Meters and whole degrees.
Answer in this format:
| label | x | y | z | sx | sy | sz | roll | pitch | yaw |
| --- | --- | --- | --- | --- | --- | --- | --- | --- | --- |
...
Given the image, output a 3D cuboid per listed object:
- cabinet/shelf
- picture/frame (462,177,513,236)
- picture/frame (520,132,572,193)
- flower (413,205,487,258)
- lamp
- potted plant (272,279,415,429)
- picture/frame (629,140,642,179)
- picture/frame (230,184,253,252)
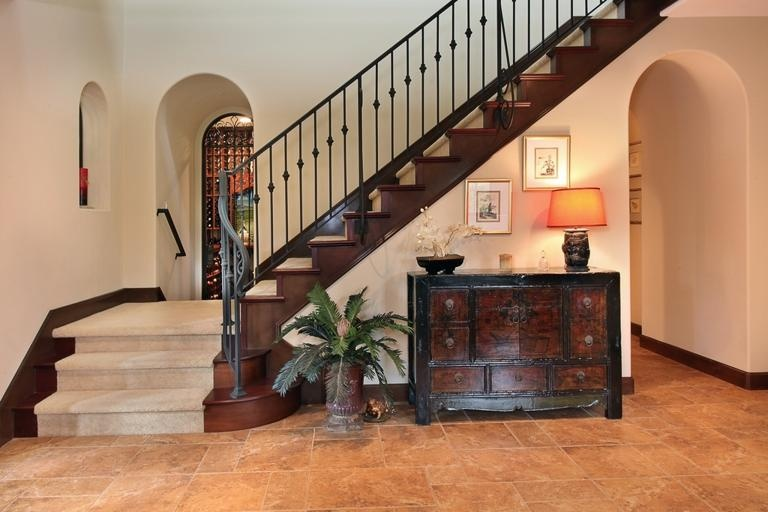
| label | x | y | z | sx | sy | sz | roll | pitch | yaw |
| --- | --- | --- | --- | --- | --- | --- | --- | --- | --- |
| cabinet/shelf | 1.306 | 0.874 | 6.283 | 2.136 | 1.430 | 0.795 | -1 | 2 | -5 |
| picture/frame | 1.065 | -0.547 | 6.318 | 0.656 | 0.704 | 0.053 | 0 | -1 | -7 |
| picture/frame | 1.701 | -1.006 | 6.336 | 0.700 | 0.774 | 0.073 | -1 | 1 | -4 |
| flower | 0.718 | -0.211 | 6.255 | 0.602 | 0.510 | 0.462 | -4 | -7 | 32 |
| lamp | 1.987 | -0.276 | 6.238 | 0.638 | 0.854 | 0.640 | -1 | 0 | 41 |
| potted plant | -0.405 | 0.938 | 6.268 | 1.376 | 1.294 | 1.412 | -2 | -6 | 44 |
| picture/frame | 3.459 | -1.349 | 8.286 | 0.092 | 0.412 | 0.431 | -1 | 0 | 14 |
| picture/frame | -1.991 | -0.539 | 8.451 | 0.277 | 0.976 | 1.141 | -1 | 0 | -14 |
